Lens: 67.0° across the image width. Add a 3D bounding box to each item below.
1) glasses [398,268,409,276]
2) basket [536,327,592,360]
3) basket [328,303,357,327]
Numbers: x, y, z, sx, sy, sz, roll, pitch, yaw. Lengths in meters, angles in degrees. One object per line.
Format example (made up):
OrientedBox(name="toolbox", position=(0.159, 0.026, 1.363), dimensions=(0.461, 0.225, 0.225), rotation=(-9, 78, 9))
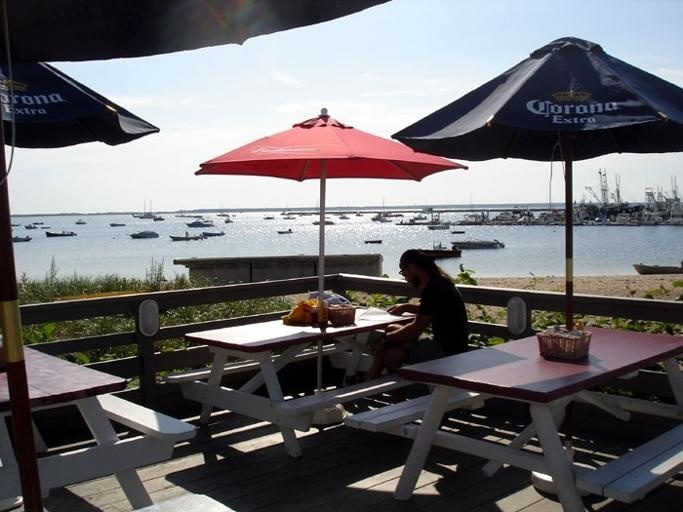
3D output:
OrientedBox(name="glasses", position=(0.566, 0.139, 4.619), dimensions=(0.073, 0.034, 0.095), rotation=(-4, 2, -15))
OrientedBox(name="basket", position=(1.435, 0.531, 3.246), dimensions=(0.204, 0.117, 0.267), rotation=(-2, -4, 37))
OrientedBox(name="basket", position=(0.002, 0.516, 4.479), dimensions=(0.204, 0.125, 0.165), rotation=(-2, -1, 3))
